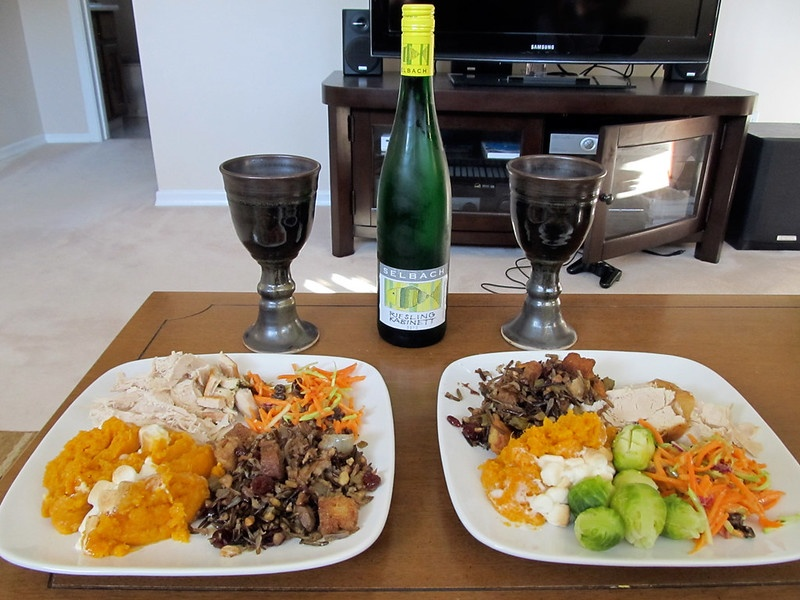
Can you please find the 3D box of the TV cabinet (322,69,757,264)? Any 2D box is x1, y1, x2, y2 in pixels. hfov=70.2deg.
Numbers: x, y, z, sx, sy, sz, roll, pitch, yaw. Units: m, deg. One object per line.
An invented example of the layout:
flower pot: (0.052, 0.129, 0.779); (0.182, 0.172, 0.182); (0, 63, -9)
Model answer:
TV cabinet: (0.588, -0.640, 2.684); (1.778, 0.858, 0.579); (2, 38, 4)

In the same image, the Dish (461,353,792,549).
Dish: (0.263, 0.160, 0.668); (0.264, 0.052, 0.212); (0, 36, 5)

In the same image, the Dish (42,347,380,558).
Dish: (-0.224, 0.176, 0.685); (0.275, 0.065, 0.240); (3, 33, -3)
